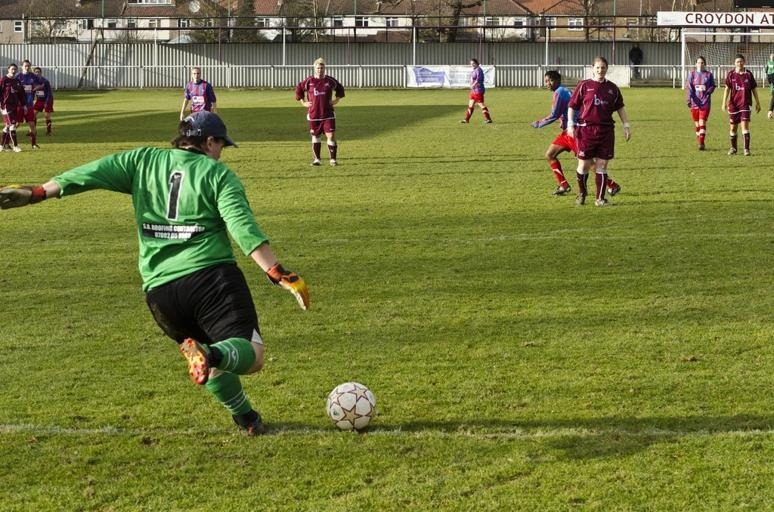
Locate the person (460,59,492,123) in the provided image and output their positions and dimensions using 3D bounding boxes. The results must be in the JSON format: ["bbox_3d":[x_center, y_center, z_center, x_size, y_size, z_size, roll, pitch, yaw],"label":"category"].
[{"bbox_3d":[2.301,-4.837,30.882,1.011,2.731,1.313,0,1,12],"label":"person"}]

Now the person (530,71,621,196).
[{"bbox_3d":[2.944,-2.218,18.566,1.153,2.693,0.952,1,4,18],"label":"person"}]

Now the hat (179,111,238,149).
[{"bbox_3d":[-1.883,-1.329,11.024,0.479,0.282,0.359,2,8,-27],"label":"hat"}]

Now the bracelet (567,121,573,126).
[{"bbox_3d":[2.944,-2.174,17.453,0.078,0.088,0.085,6,9,-15],"label":"bracelet"}]

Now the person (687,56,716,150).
[{"bbox_3d":[7.204,-3.513,24.068,0.757,2.589,0.904,-1,-1,3],"label":"person"}]
